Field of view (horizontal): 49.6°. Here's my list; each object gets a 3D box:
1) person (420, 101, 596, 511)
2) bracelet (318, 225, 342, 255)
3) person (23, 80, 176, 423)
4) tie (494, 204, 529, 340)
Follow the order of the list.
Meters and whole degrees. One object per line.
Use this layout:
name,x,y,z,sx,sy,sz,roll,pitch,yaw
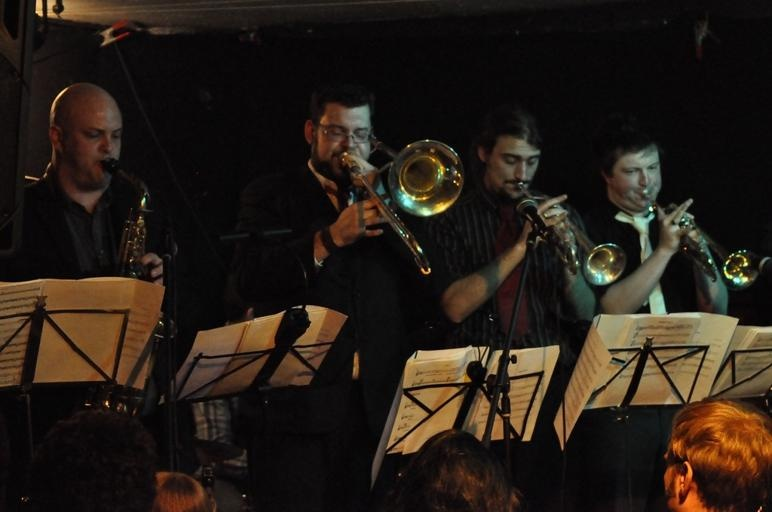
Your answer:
person,0.725,0.356,6.217,1.139,2.737,1.482,2,0,-2
bracelet,-0.369,-0.108,5.575,0.106,0.163,0.158,-11,-14,-4
person,-1.947,-0.077,5.585,0.778,2.320,0.746,2,-12,-9
tie,0.859,0.121,5.698,0.195,0.966,0.183,4,4,8
